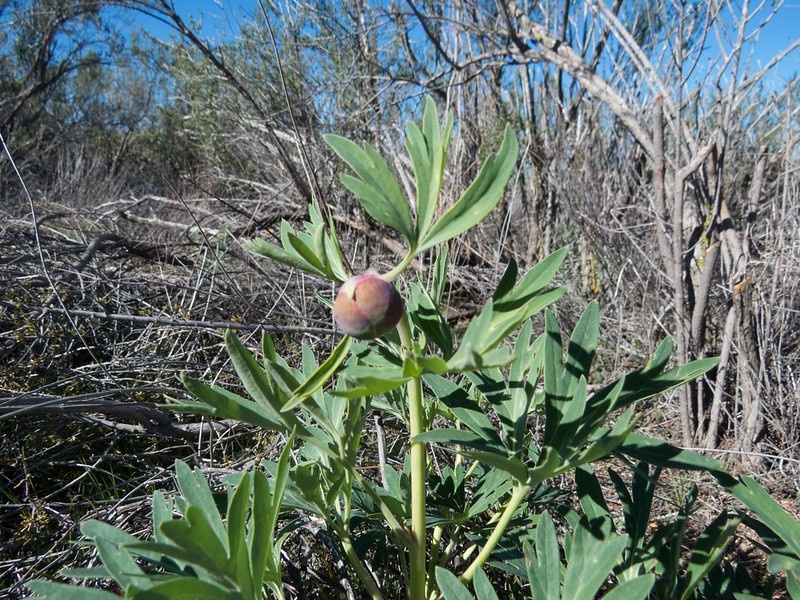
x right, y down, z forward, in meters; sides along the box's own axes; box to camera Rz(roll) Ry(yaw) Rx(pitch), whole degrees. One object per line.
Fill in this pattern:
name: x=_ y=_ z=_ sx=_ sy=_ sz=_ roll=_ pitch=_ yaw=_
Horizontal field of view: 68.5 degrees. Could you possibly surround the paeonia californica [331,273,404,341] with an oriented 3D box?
paeonia californica: x=-0.087 y=0.013 z=1.462 sx=0.131 sy=0.160 sz=0.161 roll=24 pitch=18 yaw=-24
